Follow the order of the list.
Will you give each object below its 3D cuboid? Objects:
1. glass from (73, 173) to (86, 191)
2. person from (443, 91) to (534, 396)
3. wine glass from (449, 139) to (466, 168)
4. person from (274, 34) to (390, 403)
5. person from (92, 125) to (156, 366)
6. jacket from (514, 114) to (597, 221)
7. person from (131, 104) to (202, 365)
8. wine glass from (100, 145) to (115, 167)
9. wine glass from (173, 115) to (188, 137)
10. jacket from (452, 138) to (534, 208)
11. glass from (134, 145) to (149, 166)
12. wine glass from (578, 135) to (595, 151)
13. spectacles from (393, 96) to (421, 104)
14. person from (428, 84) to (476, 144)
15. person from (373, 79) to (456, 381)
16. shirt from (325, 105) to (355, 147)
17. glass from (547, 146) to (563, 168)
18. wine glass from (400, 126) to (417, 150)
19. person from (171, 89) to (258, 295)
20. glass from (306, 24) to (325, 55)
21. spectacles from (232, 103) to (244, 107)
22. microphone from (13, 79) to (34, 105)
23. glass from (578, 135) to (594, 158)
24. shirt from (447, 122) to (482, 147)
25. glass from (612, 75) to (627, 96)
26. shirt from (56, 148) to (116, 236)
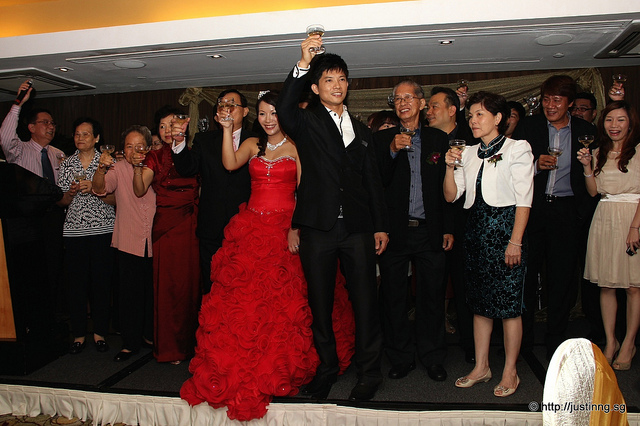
[{"bbox_3d":[-2.253,-0.308,4.212,0.141,0.139,0.153,7,3,3],"label":"glass"},{"bbox_3d":[1.326,0.193,3.562,0.709,2.323,0.799,-3,-9,40],"label":"person"},{"bbox_3d":[1.110,-0.478,3.598,0.116,0.222,0.281,1,7,16],"label":"wine glass"},{"bbox_3d":[0.079,0.047,3.600,1.182,2.784,0.789,3,-3,-26],"label":"person"},{"bbox_3d":[-1.854,0.355,4.367,0.538,2.191,0.701,-4,22,-31],"label":"person"},{"bbox_3d":[2.216,-0.382,4.161,0.813,0.997,0.306,-1,-8,8],"label":"jacket"},{"bbox_3d":[-1.251,0.147,4.227,0.892,2.216,0.584,20,23,33],"label":"person"},{"bbox_3d":[-1.953,-0.529,4.095,0.106,0.195,0.177,-5,8,-25],"label":"wine glass"},{"bbox_3d":[-1.166,-0.733,3.733,0.109,0.178,0.258,-4,8,-17],"label":"wine glass"},{"bbox_3d":[1.435,-0.337,3.656,0.398,0.619,0.721,-11,6,-32],"label":"jacket"},{"bbox_3d":[-1.666,-0.539,4.165,0.117,0.188,0.519,-4,8,-19],"label":"glass"},{"bbox_3d":[2.346,-0.622,3.898,0.110,0.156,0.111,-4,3,32],"label":"wine glass"},{"bbox_3d":[0.741,-0.970,3.819,0.220,0.063,0.114,0,7,9],"label":"spectacles"},{"bbox_3d":[1.256,-1.009,4.516,0.505,0.587,1.004,-1,6,6],"label":"person"},{"bbox_3d":[0.803,0.206,3.979,0.902,2.557,0.801,-3,7,-6],"label":"person"},{"bbox_3d":[0.184,-0.694,3.688,0.208,0.344,0.186,-17,-3,-29],"label":"shirt"},{"bbox_3d":[2.071,-0.496,3.920,0.095,0.191,0.388,2,8,26],"label":"glass"},{"bbox_3d":[0.757,-0.643,3.777,0.100,0.206,0.437,0,7,15],"label":"wine glass"},{"bbox_3d":[-1.081,-0.247,4.340,0.783,1.913,0.602,-1,13,-17],"label":"person"},{"bbox_3d":[-0.031,-1.313,3.338,0.113,0.258,0.247,-1,7,2],"label":"glass"},{"bbox_3d":[-0.712,-0.938,3.831,0.085,0.023,0.081,16,-3,-30],"label":"spectacles"},{"bbox_3d":[-3.320,-1.362,4.967,0.173,0.291,0.260,-6,9,-33],"label":"microphone"},{"bbox_3d":[2.358,-0.593,3.933,0.095,0.200,0.267,3,9,34],"label":"glass"},{"bbox_3d":[1.411,-0.767,4.366,0.377,0.111,0.282,3,4,10],"label":"shirt"},{"bbox_3d":[2.750,-1.182,4.084,0.088,0.211,0.321,3,9,34],"label":"glass"},{"bbox_3d":[-2.359,-0.222,4.669,0.534,0.912,0.679,4,1,-11],"label":"shirt"}]
